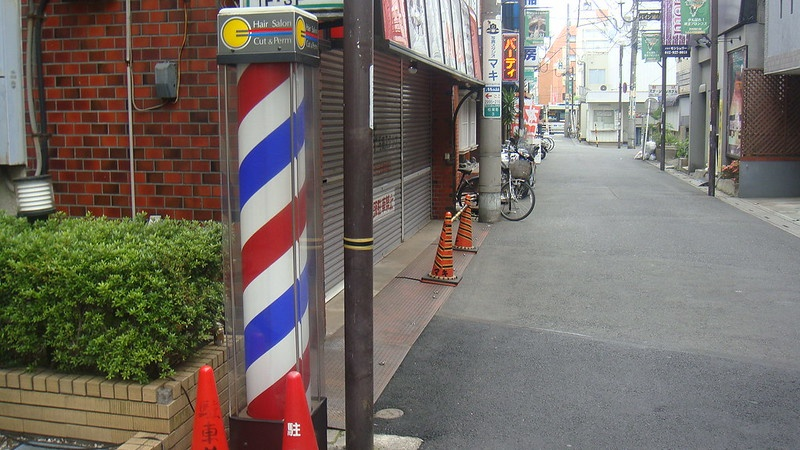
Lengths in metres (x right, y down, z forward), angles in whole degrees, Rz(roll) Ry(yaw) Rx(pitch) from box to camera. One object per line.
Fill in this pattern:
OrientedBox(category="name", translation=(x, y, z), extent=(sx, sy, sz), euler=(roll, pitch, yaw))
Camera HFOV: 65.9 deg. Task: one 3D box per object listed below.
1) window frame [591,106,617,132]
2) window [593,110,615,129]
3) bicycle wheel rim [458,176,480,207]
OrientedBox(category="window frame", translation=(23.029, -12.294, 69.699), extent=(2.834, 2.871, 1.036), euler=(-3, 7, -18))
OrientedBox(category="window", translation=(23.089, -12.242, 69.905), extent=(2.085, 2.193, 0.237), euler=(-1, 1, 4))
OrientedBox(category="bicycle wheel rim", translation=(2.017, -1.118, 17.274), extent=(0.288, 0.721, 1.393), euler=(-5, 13, -20))
